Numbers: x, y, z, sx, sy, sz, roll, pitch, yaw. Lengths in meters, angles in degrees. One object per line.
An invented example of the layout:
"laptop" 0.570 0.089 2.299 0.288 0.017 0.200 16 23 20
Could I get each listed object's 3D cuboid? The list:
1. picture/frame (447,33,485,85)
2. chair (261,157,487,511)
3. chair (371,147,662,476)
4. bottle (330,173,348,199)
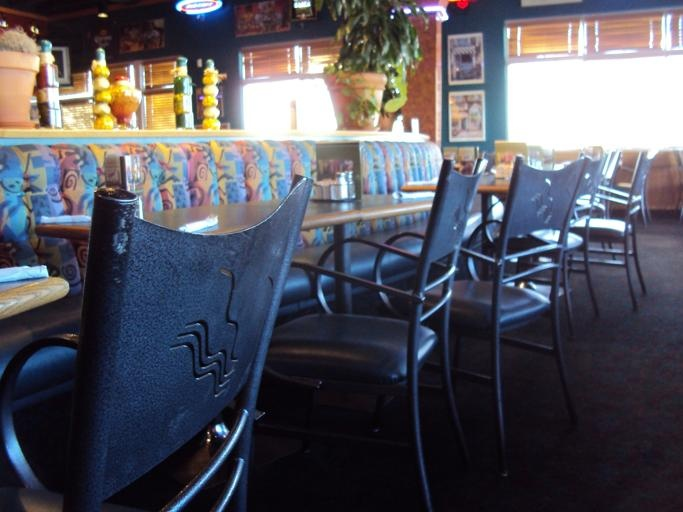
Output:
"picture/frame" 2.103 -3.365 8.521 0.759 1.102 0.047 3 16 16
"chair" 0.166 0.154 1.891 0.840 1.324 0.850 4 6 20
"chair" 0.822 0.147 2.661 1.205 2.162 1.157 5 10 39
"bottle" -0.003 -0.273 1.979 0.090 0.130 0.088 -1 0 0
